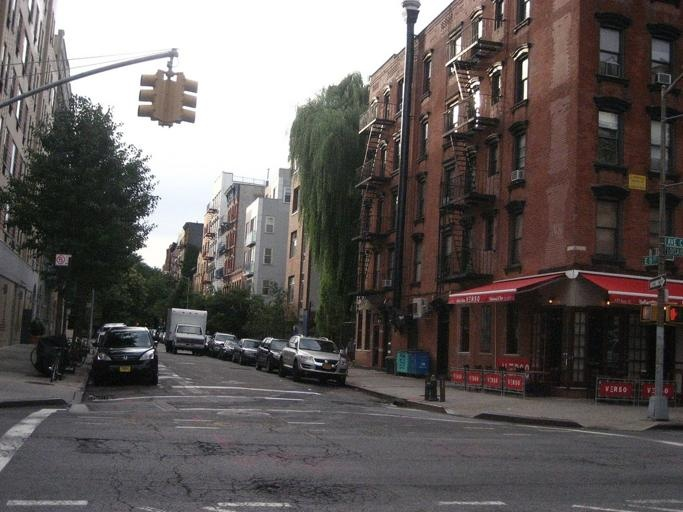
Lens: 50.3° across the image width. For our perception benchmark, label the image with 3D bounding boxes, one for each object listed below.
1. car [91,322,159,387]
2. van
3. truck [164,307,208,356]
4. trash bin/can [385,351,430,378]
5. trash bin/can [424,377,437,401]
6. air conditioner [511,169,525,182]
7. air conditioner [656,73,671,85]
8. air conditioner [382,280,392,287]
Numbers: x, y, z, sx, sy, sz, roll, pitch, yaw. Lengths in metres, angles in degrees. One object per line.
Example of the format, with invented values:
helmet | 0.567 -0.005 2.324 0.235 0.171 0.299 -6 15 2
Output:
car | -7.514 3.492 25.428 1.966 2.301 2.737 2 -4 -14
van | -1.199 4.374 30.333 1.656 1.812 4.421 1 -4 -15
truck | -11.340 5.455 53.392 2.581 3.284 3.715 8 -13 -19
trash bin/can | 3.324 5.591 37.112 1.144 1.357 3.409 10 -14 -27
trash bin/can | 2.944 4.447 24.237 0.349 0.939 0.647 5 -9 -21
air conditioner | 7.164 -3.330 29.812 0.261 0.543 0.670 14 -16 -43
air conditioner | 12.412 -6.892 28.203 0.535 0.628 0.367 0 0 1
air conditioner | 2.502 1.641 40.683 0.308 0.446 0.612 1 -3 -12
